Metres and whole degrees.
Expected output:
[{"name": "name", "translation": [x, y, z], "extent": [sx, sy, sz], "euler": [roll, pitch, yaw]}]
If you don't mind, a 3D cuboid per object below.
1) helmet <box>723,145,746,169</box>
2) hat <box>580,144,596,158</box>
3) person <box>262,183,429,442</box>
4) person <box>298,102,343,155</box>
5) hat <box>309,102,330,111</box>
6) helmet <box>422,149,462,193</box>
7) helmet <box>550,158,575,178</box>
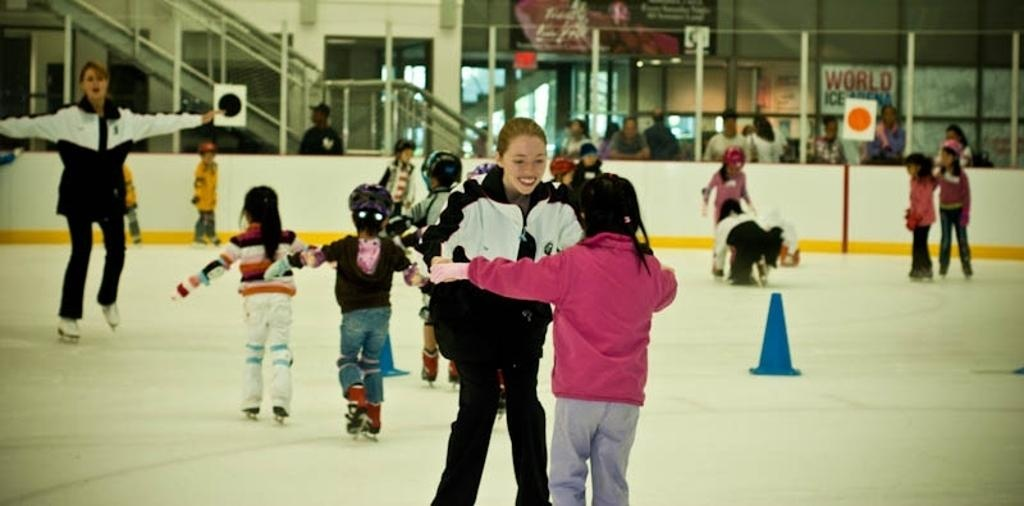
[{"name": "helmet", "translation": [4.184, -1.784, 21.419], "extent": [0.344, 0.380, 0.453], "euler": [-5, 5, -29]}, {"name": "hat", "translation": [1.455, -1.942, 21.942], "extent": [0.295, 0.214, 0.226], "euler": [1, 4, 40]}, {"name": "person", "translation": [-1.835, 0.747, 14.442], "extent": [1.295, 3.186, 0.447], "euler": [1, 2, -5]}, {"name": "person", "translation": [-3.892, -2.549, 23.655], "extent": [1.026, 1.607, 0.616], "euler": [4, 3, 40]}, {"name": "hat", "translation": [-3.892, -2.962, 23.508], "extent": [0.278, 0.120, 0.220], "euler": [9, 8, 37]}, {"name": "helmet", "translation": [-0.997, -1.123, 15.936], "extent": [0.505, 0.547, 0.544], "euler": [-1, 3, -15]}, {"name": "helmet", "translation": [0.809, -1.343, 18.634], "extent": [0.452, 0.332, 0.329], "euler": [7, 8, 3]}]
